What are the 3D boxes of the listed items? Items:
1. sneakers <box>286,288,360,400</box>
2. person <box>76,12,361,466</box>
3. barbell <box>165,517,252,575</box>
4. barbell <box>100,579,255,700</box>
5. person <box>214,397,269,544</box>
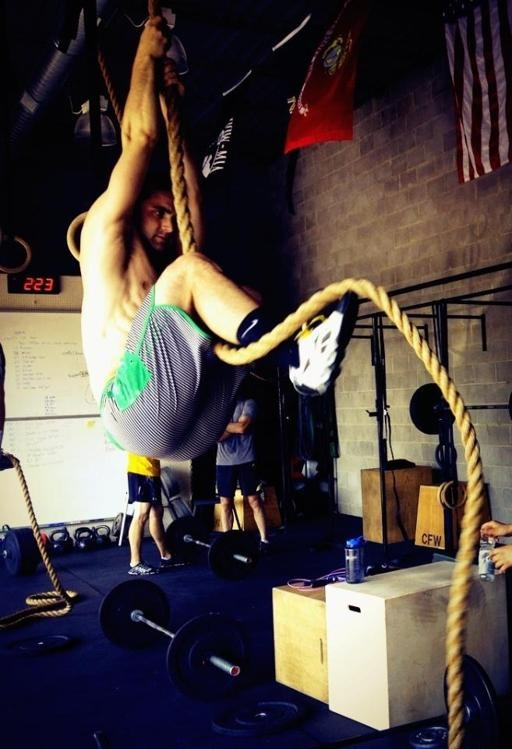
[{"bbox_3d":[0.119,-0.051,1.136,0.093,0.125,0.310,-4,47,14],"label":"sneakers"},{"bbox_3d":[-0.165,-0.134,1.341,0.464,1.466,0.368,2,1,-9],"label":"person"},{"bbox_3d":[-0.338,1.295,4.828,0.407,0.375,1.138,-1,-5,-24],"label":"barbell"},{"bbox_3d":[-0.315,1.137,2.814,0.466,0.392,0.943,0,-6,-37],"label":"barbell"},{"bbox_3d":[-0.113,0.715,5.454,0.448,1.384,0.440,-1,-1,-20],"label":"person"}]
